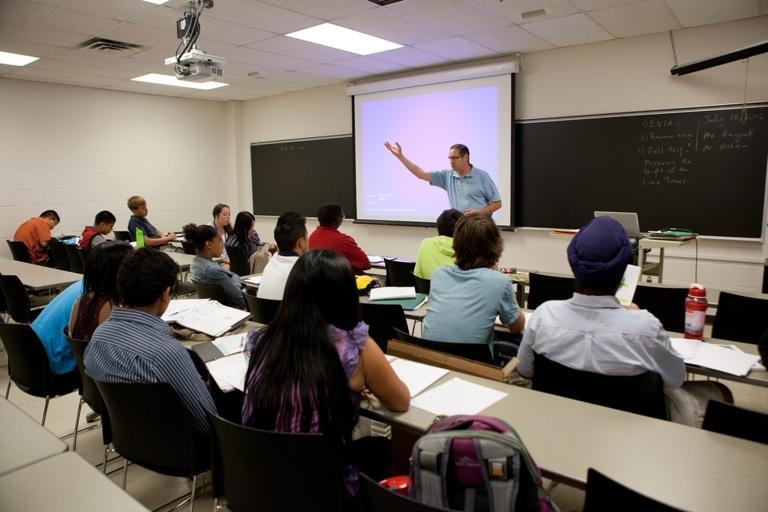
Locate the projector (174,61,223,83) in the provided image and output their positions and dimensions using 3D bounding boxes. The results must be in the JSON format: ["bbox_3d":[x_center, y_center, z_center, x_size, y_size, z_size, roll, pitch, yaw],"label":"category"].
[{"bbox_3d":[-1.668,-1.644,4.388,0.239,0.087,0.226,5,8,40],"label":"projector"}]
